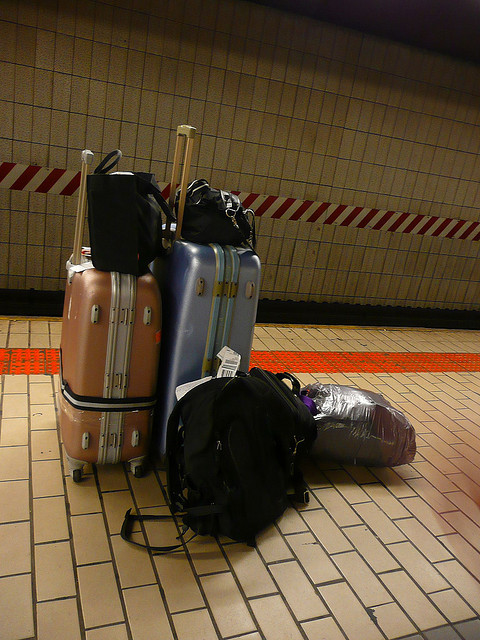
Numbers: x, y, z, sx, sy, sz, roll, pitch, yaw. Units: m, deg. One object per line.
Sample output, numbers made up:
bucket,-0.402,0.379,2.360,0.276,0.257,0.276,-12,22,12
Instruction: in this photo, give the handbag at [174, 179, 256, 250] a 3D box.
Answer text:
handbag,-0.098,-0.485,2.367,0.384,0.259,0.318,-14,26,-42

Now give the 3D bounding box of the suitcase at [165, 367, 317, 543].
suitcase,0.014,0.570,2.389,0.633,0.880,0.791,-4,4,2

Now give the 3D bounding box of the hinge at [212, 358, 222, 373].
hinge,-0.105,0.199,2.315,0.043,0.078,0.050,-3,20,-20

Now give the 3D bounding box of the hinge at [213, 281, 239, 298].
hinge,-0.062,-0.137,2.223,0.081,0.079,0.024,3,31,-17

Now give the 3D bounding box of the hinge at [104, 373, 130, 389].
hinge,-0.521,0.252,2.147,0.075,0.073,0.020,5,20,-19

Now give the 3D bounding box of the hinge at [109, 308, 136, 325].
hinge,-0.475,-0.020,2.069,0.124,0.077,0.067,0,5,7

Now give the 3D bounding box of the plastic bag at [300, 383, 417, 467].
plastic bag,0.628,0.545,2.675,0.591,0.335,0.297,9,-29,-24

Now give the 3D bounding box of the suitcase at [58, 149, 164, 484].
suitcase,-0.549,0.015,2.244,0.441,1.419,0.394,2,18,-19

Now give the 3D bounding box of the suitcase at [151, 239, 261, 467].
suitcase,-0.146,0.126,2.187,0.403,1.113,0.702,-1,22,-17

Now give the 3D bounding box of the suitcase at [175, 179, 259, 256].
suitcase,-0.167,-0.487,2.422,0.477,0.354,0.500,6,15,3

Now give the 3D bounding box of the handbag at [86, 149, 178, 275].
handbag,-0.461,-0.481,2.220,0.395,0.472,0.361,0,20,-17
